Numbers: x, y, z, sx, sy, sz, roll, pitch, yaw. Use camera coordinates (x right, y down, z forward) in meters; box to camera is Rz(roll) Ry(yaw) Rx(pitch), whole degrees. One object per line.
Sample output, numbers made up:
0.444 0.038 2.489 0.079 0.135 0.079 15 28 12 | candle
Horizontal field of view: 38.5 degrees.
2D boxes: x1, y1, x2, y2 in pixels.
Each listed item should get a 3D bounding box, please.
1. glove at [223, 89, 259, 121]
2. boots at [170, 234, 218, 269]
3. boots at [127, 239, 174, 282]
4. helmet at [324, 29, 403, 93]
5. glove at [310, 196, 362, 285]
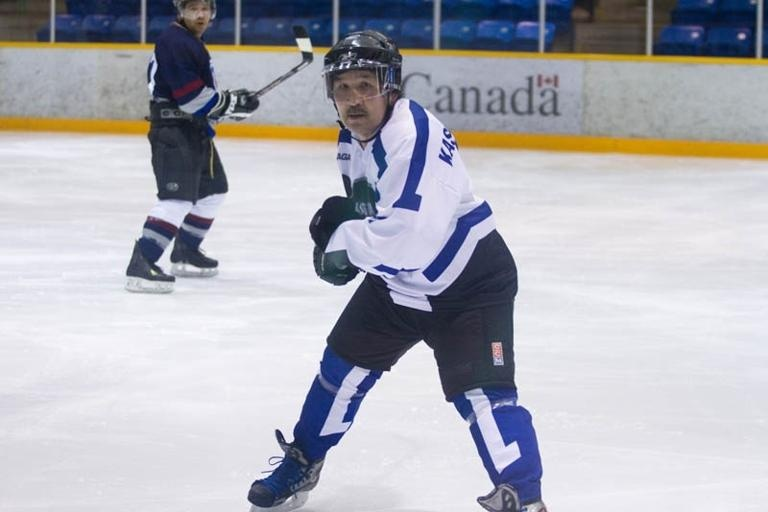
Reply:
-0.936 -0.982 7.168 0.198 0.112 0.252 0 9 8 | glove
-1.205 -0.016 7.174 0.410 0.220 0.133 0 4 28 | boots
-1.463 0.036 6.833 0.134 0.237 0.371 8 -2 44 | boots
-0.122 -0.845 4.765 0.291 0.224 0.319 -1 -1 33 | helmet
-0.239 -0.063 4.771 0.140 0.338 0.256 -5 36 -44 | glove
